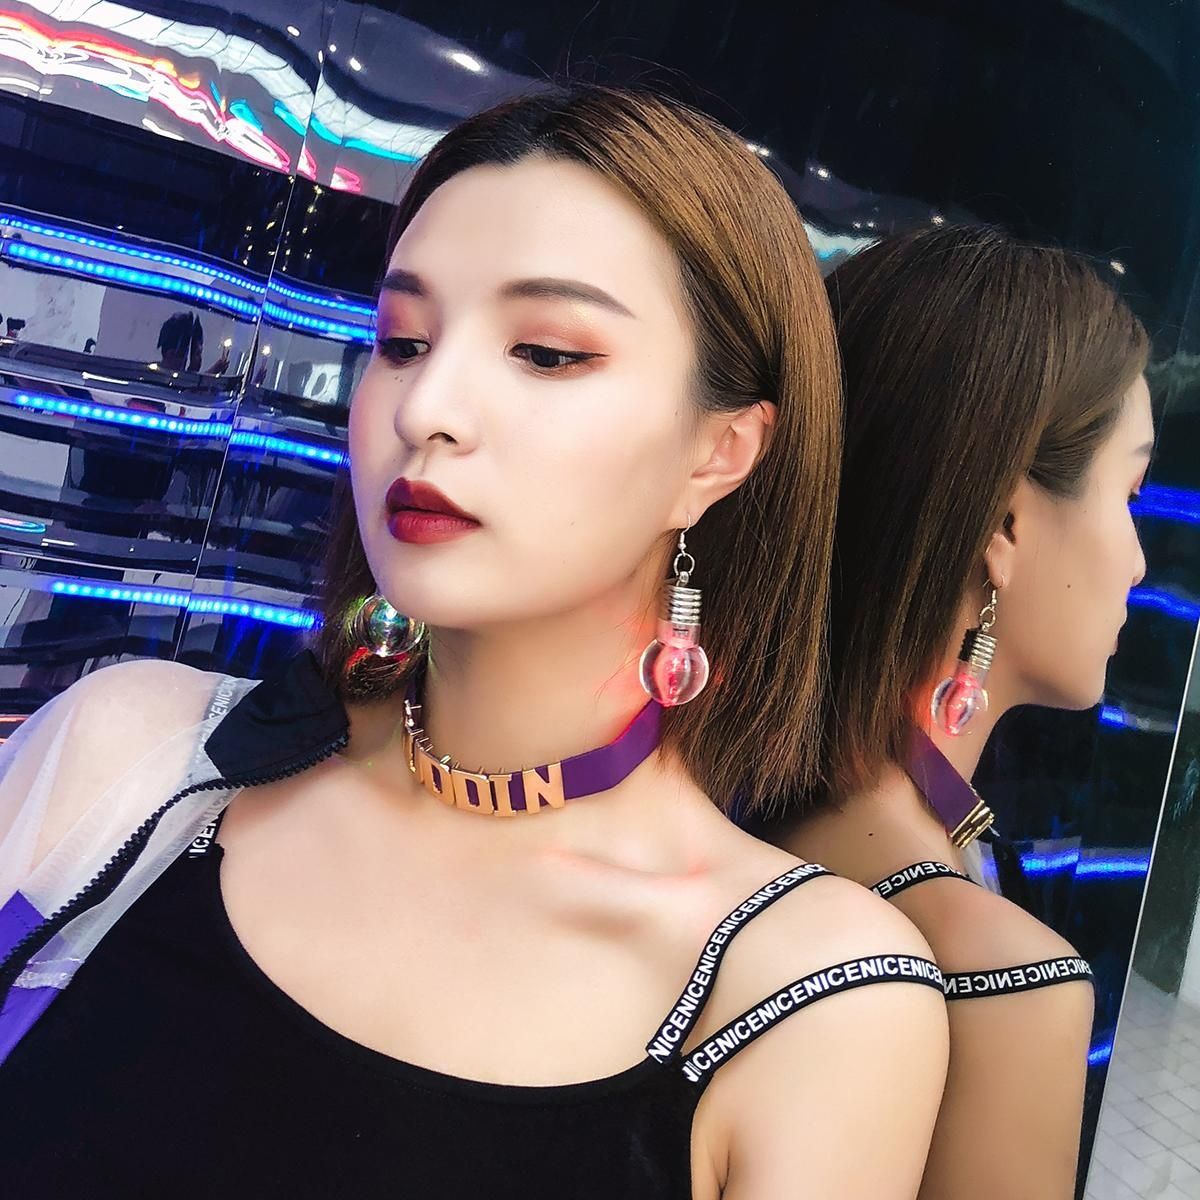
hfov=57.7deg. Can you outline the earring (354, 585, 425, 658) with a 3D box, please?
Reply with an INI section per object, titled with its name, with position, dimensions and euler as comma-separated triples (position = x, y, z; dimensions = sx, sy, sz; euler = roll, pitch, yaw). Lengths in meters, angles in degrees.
[earring]
position = -0.299, 0.024, 1.500
dimensions = 0.101, 0.089, 0.037
euler = 2, 12, 1
